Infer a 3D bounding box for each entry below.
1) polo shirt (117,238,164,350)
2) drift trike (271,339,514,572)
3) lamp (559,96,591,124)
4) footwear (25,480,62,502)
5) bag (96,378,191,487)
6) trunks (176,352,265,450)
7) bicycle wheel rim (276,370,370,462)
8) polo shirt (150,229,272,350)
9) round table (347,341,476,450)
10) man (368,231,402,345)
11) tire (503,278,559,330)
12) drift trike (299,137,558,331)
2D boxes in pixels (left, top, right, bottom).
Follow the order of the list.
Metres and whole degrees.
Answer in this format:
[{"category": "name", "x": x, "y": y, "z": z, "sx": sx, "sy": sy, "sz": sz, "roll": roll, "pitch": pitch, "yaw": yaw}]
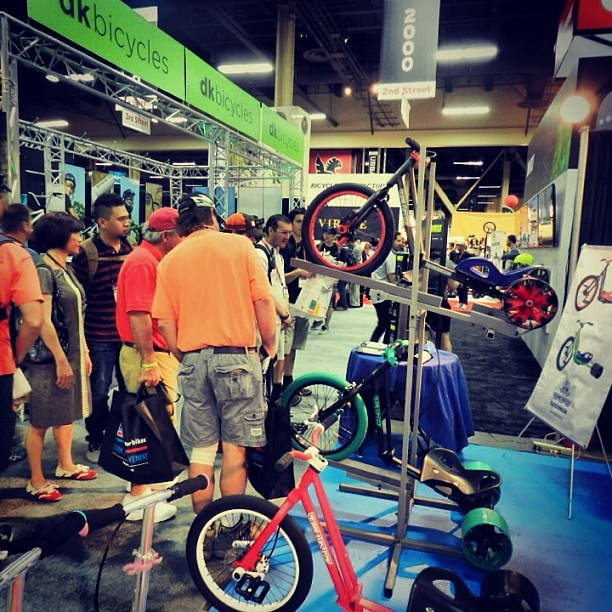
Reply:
[{"category": "polo shirt", "x": -0.933, "y": -0.052, "z": 3.140, "sx": 0.341, "sy": 0.592, "sz": 0.635, "roll": 2, "pitch": 9, "yaw": -11}, {"category": "drift trike", "x": 0.588, "y": 0.758, "z": 3.470, "sx": 1.508, "sy": 0.924, "sz": 0.993, "roll": 21, "pitch": 8, "yaw": 14}, {"category": "lamp", "x": 2.853, "y": -2.093, "z": 5.879, "sx": 0.184, "sy": 0.316, "sz": 0.453, "roll": 5, "pitch": 9, "yaw": 7}, {"category": "footwear", "x": -1.616, "y": 1.133, "z": 3.411, "sx": 0.164, "sy": 0.070, "sz": 0.107, "roll": 9, "pitch": 7, "yaw": 3}, {"category": "bag", "x": -0.788, "y": 0.637, "z": 2.682, "sx": 0.443, "sy": 0.404, "sz": 0.191, "roll": 8, "pitch": 9, "yaw": 25}, {"category": "trunks", "x": -0.423, "y": 0.442, "z": 2.759, "sx": 0.495, "sy": 0.483, "sz": 0.332, "roll": -2, "pitch": 0, "yaw": 22}, {"category": "bicycle wheel rim", "x": 0.077, "y": 0.727, "z": 3.602, "sx": 0.638, "sy": 0.633, "sz": 0.192, "roll": 3, "pitch": -31, "yaw": -30}, {"category": "polo shirt", "x": -0.482, "y": -0.064, "z": 2.728, "sx": 0.668, "sy": 0.648, "sz": 0.336, "roll": -2, "pitch": 6, "yaw": 9}, {"category": "round table", "x": 0.798, "y": 0.671, "z": 3.947, "sx": 0.737, "sy": 0.428, "sz": 0.833, "roll": 12, "pitch": -8, "yaw": 40}, {"category": "man", "x": 1.067, "y": -0.133, "z": 6.904, "sx": 0.420, "sy": 1.452, "sz": 0.461, "roll": -3, "pitch": -15, "yaw": 41}, {"category": "tire", "x": 1.172, "y": -0.013, "z": 2.918, "sx": 0.324, "sy": 0.335, "sz": 0.189, "roll": -7, "pitch": 7, "yaw": 11}, {"category": "drift trike", "x": 0.741, "y": -0.435, "z": 3.195, "sx": 1.484, "sy": 0.814, "sz": 0.535, "roll": 17, "pitch": 13, "yaw": 10}]
